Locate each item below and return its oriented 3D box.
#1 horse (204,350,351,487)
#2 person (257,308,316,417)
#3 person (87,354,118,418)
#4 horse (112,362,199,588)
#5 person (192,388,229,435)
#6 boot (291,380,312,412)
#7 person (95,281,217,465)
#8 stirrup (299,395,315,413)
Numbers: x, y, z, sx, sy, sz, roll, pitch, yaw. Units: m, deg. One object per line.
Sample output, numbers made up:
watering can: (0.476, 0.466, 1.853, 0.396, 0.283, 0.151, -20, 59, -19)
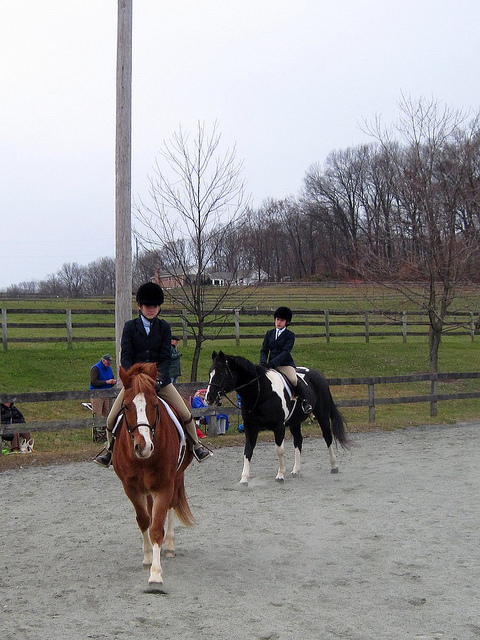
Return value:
horse: (0.594, 1.341, 12.805, 2.420, 1.825, 0.725, 1, -1, -37)
person: (0.579, 0.509, 12.899, 0.707, 1.512, 0.615, -9, -4, 40)
person: (-2.303, 1.189, 15.964, 0.423, 1.307, 0.435, -8, 14, -44)
horse: (-0.809, 1.324, 8.589, 0.608, 1.929, 1.590, 1, 3, -5)
person: (-0.540, 1.554, 16.465, 0.637, 1.124, 0.869, 3, -15, -10)
boot: (0.860, 1.006, 13.017, 0.155, 0.582, 0.140, -26, 12, -35)
person: (-0.842, 0.485, 9.194, 0.962, 1.845, 0.839, 0, 9, -1)
stirrup: (0.893, 1.144, 13.004, 0.122, 0.177, 0.040, -5, -20, -38)
